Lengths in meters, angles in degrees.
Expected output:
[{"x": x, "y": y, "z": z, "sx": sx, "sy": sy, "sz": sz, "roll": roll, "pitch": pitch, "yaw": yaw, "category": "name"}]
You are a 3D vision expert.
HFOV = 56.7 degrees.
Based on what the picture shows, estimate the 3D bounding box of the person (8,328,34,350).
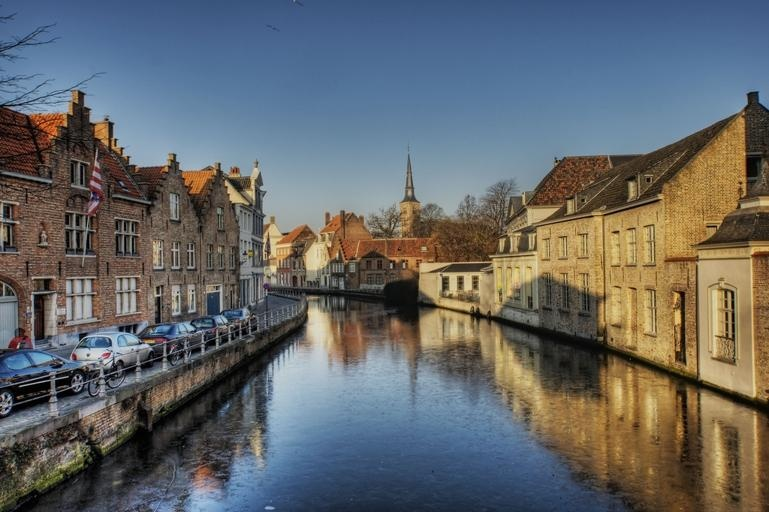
[{"x": -15.914, "y": 3.728, "z": 31.292, "sx": 1.246, "sy": 0.990, "sz": 1.991, "roll": 0, "pitch": -3, "yaw": -36, "category": "person"}]

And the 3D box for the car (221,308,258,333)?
[{"x": -8.651, "y": 4.007, "z": 42.937, "sx": 1.168, "sy": 0.820, "sz": 2.520, "roll": 0, "pitch": 3, "yaw": -3, "category": "car"}]

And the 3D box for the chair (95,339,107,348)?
[{"x": -11.665, "y": 3.593, "z": 29.507, "sx": 0.569, "sy": 0.310, "sz": 0.370, "roll": -4, "pitch": 10, "yaw": -13, "category": "chair"}]

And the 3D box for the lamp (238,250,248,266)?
[{"x": -11.657, "y": 0.112, "z": 58.570, "sx": 0.446, "sy": 1.304, "sz": 1.374, "roll": -1, "pitch": -2, "yaw": 5, "category": "lamp"}]

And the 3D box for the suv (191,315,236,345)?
[{"x": -9.158, "y": 3.925, "z": 38.112, "sx": 1.163, "sy": 0.844, "sz": 2.544, "roll": 0, "pitch": 0, "yaw": 4, "category": "suv"}]
